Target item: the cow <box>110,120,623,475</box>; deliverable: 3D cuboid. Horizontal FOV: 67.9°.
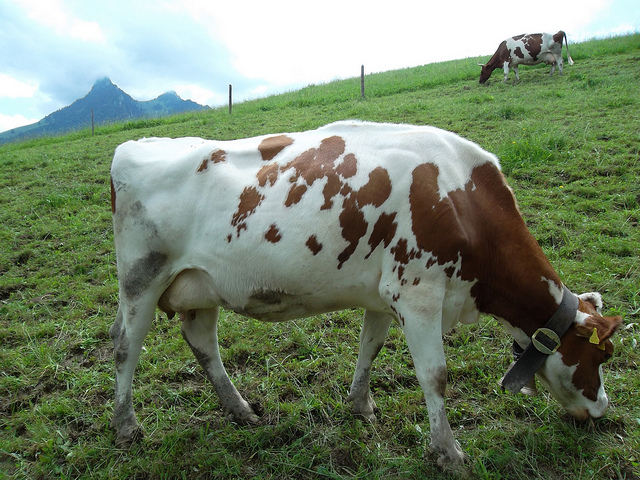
[{"bbox_3d":[0.058,0.346,3.966,3.616,2.463,1.370,-5,23,12],"label":"cow"}]
